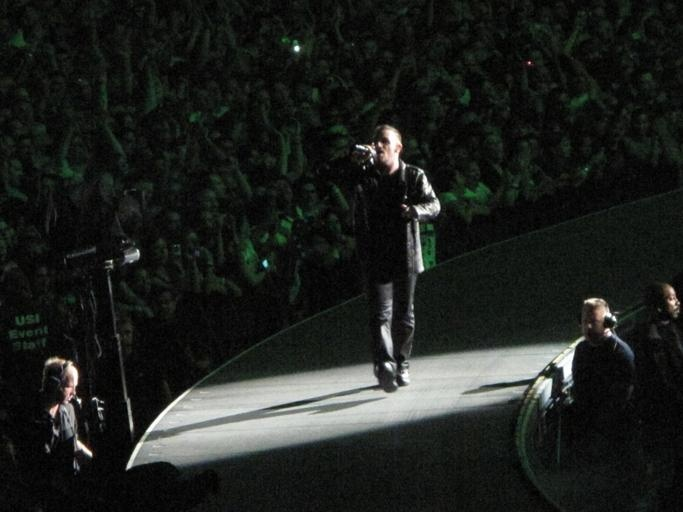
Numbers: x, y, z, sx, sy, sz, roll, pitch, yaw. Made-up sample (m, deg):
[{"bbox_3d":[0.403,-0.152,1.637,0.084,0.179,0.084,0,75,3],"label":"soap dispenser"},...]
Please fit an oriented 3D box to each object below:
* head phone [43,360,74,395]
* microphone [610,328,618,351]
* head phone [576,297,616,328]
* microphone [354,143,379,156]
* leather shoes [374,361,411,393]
[{"bbox_3d":[-1.307,0.543,3.627,0.142,0.159,0.112,2,-3,-21],"label":"head phone"},{"bbox_3d":[1.081,0.336,3.184,0.050,0.078,0.038,-1,4,4],"label":"microphone"},{"bbox_3d":[1.029,0.243,3.206,0.112,0.110,0.116,-15,-18,35],"label":"head phone"},{"bbox_3d":[0.105,-0.479,3.569,0.081,0.053,0.031,5,-1,2],"label":"microphone"},{"bbox_3d":[0.229,0.519,3.462,0.148,0.117,0.116,-6,4,-6],"label":"leather shoes"}]
